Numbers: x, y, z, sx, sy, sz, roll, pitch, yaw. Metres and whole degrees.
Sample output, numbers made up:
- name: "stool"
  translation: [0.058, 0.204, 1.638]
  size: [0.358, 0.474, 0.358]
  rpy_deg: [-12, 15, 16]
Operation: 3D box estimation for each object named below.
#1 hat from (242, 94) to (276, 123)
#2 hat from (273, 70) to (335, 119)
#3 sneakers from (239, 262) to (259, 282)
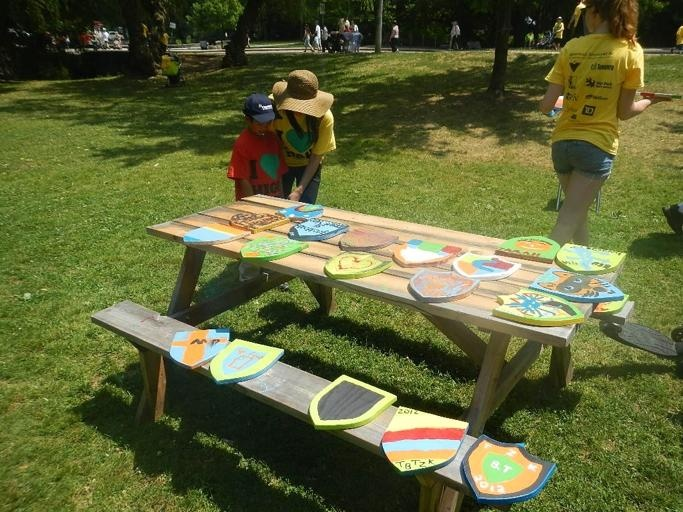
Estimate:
- name: "hat"
  translation: [-0.743, -1.299, 4.452]
  size: [0.223, 0.165, 0.305]
  rpy_deg: [-30, 51, -30]
- name: "hat"
  translation: [-0.382, -1.430, 4.578]
  size: [0.545, 0.198, 0.482]
  rpy_deg: [21, 45, 17]
- name: "sneakers"
  translation: [-0.836, 0.145, 4.704]
  size: [0.206, 0.105, 0.131]
  rpy_deg: [-6, 66, -21]
